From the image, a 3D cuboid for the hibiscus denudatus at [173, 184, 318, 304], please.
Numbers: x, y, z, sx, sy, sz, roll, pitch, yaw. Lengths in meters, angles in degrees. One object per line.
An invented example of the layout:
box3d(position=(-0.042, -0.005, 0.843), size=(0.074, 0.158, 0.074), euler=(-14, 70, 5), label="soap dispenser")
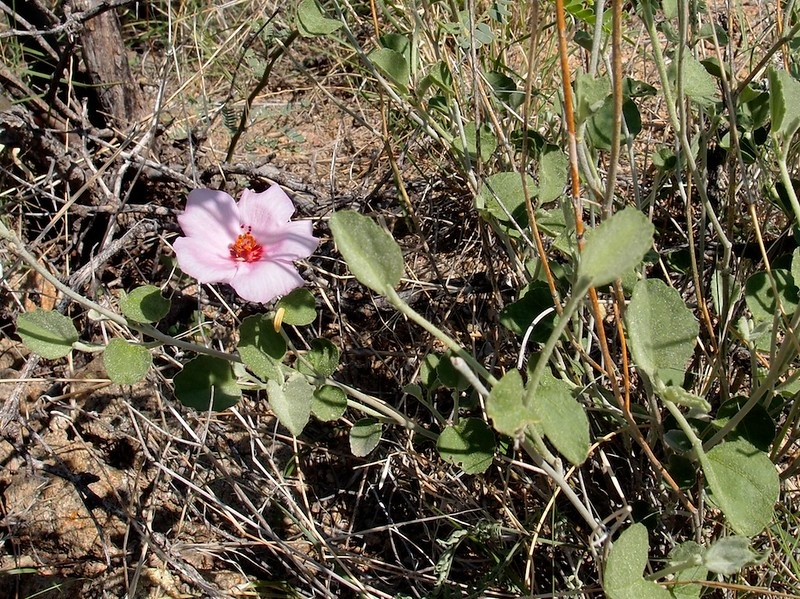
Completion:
box3d(position=(-0.442, -0.167, 2.027), size=(0.398, 0.289, 0.397), euler=(-23, 29, -35), label="hibiscus denudatus")
